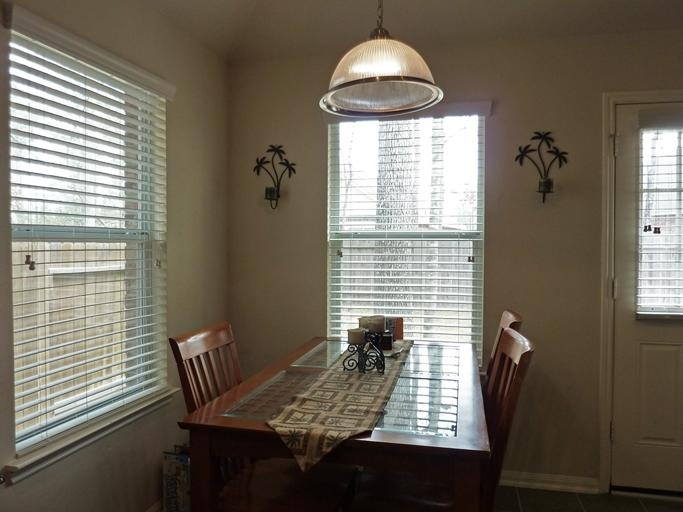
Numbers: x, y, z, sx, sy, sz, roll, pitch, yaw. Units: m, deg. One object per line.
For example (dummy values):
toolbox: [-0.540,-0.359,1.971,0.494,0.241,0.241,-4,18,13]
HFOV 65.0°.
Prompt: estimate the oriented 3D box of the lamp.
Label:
lamp: [0.157,-0.822,2.652,0.533,0.632,0.583,0,-3,-12]
